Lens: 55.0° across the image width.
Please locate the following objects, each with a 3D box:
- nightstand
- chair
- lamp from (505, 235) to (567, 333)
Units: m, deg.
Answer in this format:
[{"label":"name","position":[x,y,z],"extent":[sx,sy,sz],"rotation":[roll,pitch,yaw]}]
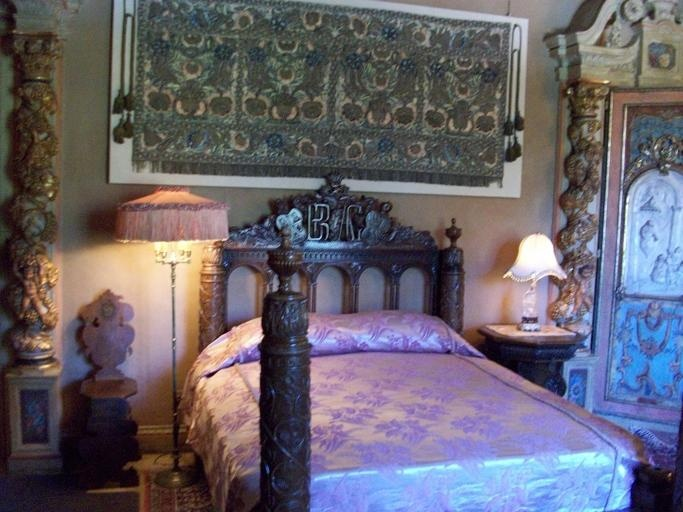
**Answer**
[{"label":"nightstand","position":[1.370,0.711,4.746],"extent":[0.564,0.507,0.559],"rotation":[1,12,7]},{"label":"chair","position":[-1.633,0.829,4.507],"extent":[0.327,1.031,0.344],"rotation":[-14,-33,15]},{"label":"lamp","position":[1.459,0.198,4.969],"extent":[0.485,0.720,0.391],"rotation":[2,-2,13]}]
